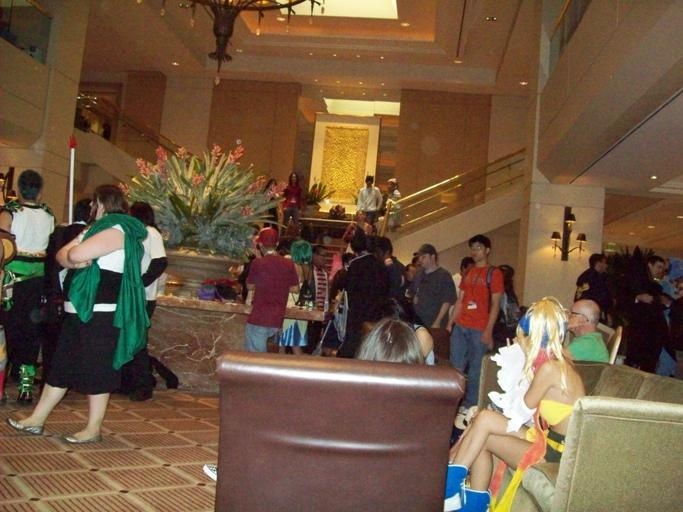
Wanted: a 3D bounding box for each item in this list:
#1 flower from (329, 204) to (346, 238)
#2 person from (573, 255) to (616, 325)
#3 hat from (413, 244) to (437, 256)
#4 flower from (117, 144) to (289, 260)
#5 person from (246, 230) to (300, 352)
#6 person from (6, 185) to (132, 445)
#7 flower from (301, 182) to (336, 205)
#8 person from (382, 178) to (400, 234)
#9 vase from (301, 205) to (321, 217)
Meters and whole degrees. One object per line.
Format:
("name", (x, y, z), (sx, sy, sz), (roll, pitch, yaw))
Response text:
("flower", (-0.066, -1.166, 13.834), (0.553, 0.783, 0.756), (3, 9, 4))
("person", (3.576, 0.549, 6.601), (0.341, 1.175, 0.482), (-20, 15, -41))
("hat", (1.006, -0.076, 5.562), (0.240, 0.142, 0.173), (7, 1, -3))
("flower", (-1.522, -0.677, 5.171), (1.395, 0.823, 1.231), (6, -1, -1))
("person", (-0.691, 0.313, 4.678), (0.496, 1.011, 0.449), (7, -3, -19))
("person", (-1.630, 0.349, 3.119), (0.658, 1.757, 0.441), (7, -3, -18))
("flower", (-0.809, -1.902, 14.485), (0.958, 0.700, 0.927), (2, 3, 21))
("person", (1.280, -1.259, 11.378), (0.410, 0.913, 1.018), (6, -3, 5))
("vase", (-0.862, -1.334, 13.913), (0.378, 0.280, 0.395), (2, 4, 14))
